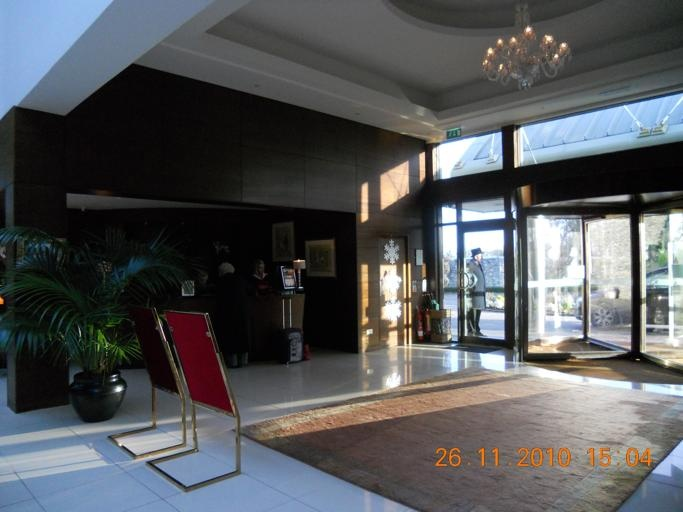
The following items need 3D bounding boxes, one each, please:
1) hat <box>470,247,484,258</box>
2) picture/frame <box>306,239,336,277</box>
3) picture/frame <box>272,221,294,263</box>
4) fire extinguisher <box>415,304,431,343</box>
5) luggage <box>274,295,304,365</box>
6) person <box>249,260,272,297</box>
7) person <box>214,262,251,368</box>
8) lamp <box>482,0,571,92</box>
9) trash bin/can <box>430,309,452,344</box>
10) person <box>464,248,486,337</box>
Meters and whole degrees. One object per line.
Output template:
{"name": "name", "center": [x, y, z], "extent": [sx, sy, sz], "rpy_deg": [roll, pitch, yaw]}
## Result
{"name": "hat", "center": [2.851, -0.082, 10.285], "extent": [0.194, 0.107, 0.190], "rpy_deg": [-15, 6, -33]}
{"name": "picture/frame", "center": [-0.394, 0.029, 10.025], "extent": [0.716, 0.824, 0.101], "rpy_deg": [-4, -4, 41]}
{"name": "picture/frame", "center": [-1.235, -0.321, 10.433], "extent": [0.645, 0.816, 0.113], "rpy_deg": [1, 3, 41]}
{"name": "fire extinguisher", "center": [1.821, 1.514, 10.828], "extent": [0.330, 0.729, 0.205], "rpy_deg": [-1, 2, 0]}
{"name": "luggage", "center": [-0.955, 1.315, 8.900], "extent": [0.498, 1.193, 0.445], "rpy_deg": [-3, 3, -35]}
{"name": "person", "center": [-1.516, 0.398, 9.079], "extent": [0.388, 0.630, 0.743], "rpy_deg": [-1, 2, -9]}
{"name": "person", "center": [-1.901, 1.116, 8.503], "extent": [0.549, 1.607, 0.328], "rpy_deg": [-2, 2, -14]}
{"name": "lamp", "center": [2.721, -3.026, 7.110], "extent": [1.105, 1.307, 1.959], "rpy_deg": [0, 3, 24]}
{"name": "trash bin/can", "center": [2.190, 1.525, 10.728], "extent": [0.448, 0.729, 0.283], "rpy_deg": [-1, 2, 2]}
{"name": "person", "center": [2.851, 0.761, 10.274], "extent": [0.375, 1.857, 0.152], "rpy_deg": [0, 3, 18]}
